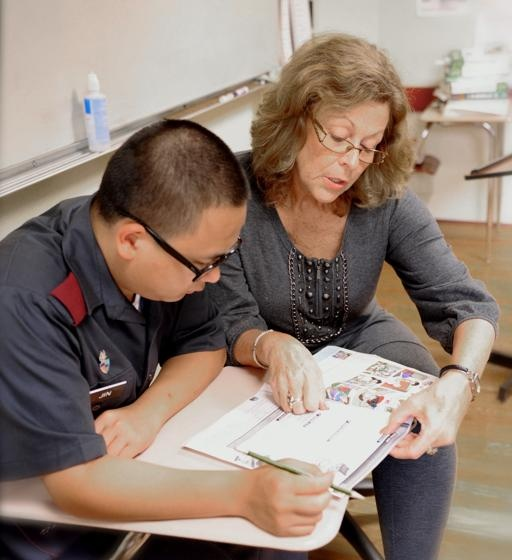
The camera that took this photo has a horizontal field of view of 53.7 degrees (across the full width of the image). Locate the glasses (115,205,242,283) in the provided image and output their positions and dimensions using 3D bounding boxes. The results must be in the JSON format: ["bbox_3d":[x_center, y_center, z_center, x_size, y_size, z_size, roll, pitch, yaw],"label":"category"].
[{"bbox_3d":[-0.125,-0.071,0.790,0.138,0.036,0.129,36,14,5],"label":"glasses"}]

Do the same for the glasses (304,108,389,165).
[{"bbox_3d":[0.208,-0.321,1.159,0.133,0.036,0.127,10,26,-42],"label":"glasses"}]

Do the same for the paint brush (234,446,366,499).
[{"bbox_3d":[0.059,0.260,0.680,0.193,0.019,0.013,19,37,4],"label":"paint brush"}]

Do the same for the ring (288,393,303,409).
[{"bbox_3d":[0.068,0.210,0.879,0.025,0.025,0.011,-2,-10,11],"label":"ring"}]

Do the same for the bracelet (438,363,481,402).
[{"bbox_3d":[0.399,0.204,0.995,0.076,0.085,0.069,4,22,19],"label":"bracelet"}]
